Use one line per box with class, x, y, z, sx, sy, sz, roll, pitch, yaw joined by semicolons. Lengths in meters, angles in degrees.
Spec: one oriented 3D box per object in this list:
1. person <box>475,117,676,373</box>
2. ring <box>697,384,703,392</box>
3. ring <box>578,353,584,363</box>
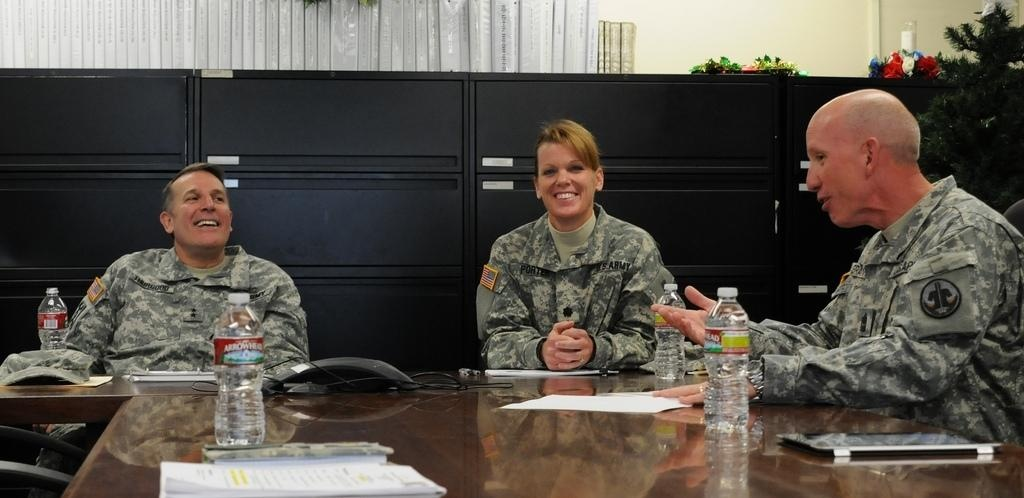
person;0.320;0.100;4.289;1.078;1.021;0.814;2;16;12
ring;0.854;0.641;3.506;0.025;0.017;0.022;0;5;7
ring;0.357;0.580;4.047;0.038;0.038;0.007;-2;17;-5
